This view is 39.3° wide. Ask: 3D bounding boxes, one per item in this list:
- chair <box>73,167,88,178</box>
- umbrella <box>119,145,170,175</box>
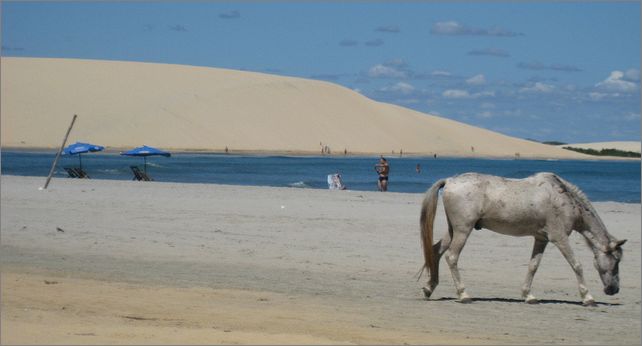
[{"bbox_3d":[-29.868,0.039,110.767,0.525,0.763,2.856,8,19,-46],"label":"chair"},{"bbox_3d":[-22.590,-2.561,113.087,6.146,3.402,5.547,-2,6,-23],"label":"umbrella"}]
